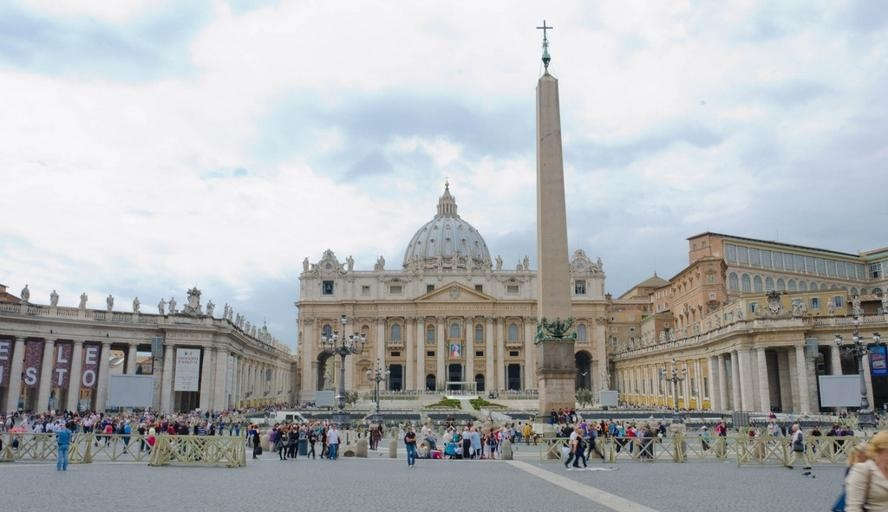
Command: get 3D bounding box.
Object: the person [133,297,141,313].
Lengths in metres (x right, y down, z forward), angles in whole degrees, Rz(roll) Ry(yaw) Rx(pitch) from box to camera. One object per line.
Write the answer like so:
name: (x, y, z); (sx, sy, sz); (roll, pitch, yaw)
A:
person: (-29.749, 4.832, 85.720); (0.394, 1.301, 1.872); (9, -19, -25)

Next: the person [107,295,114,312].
person: (-31.979, 4.689, 84.865); (0.431, 1.440, 0.776); (5, -18, -13)
